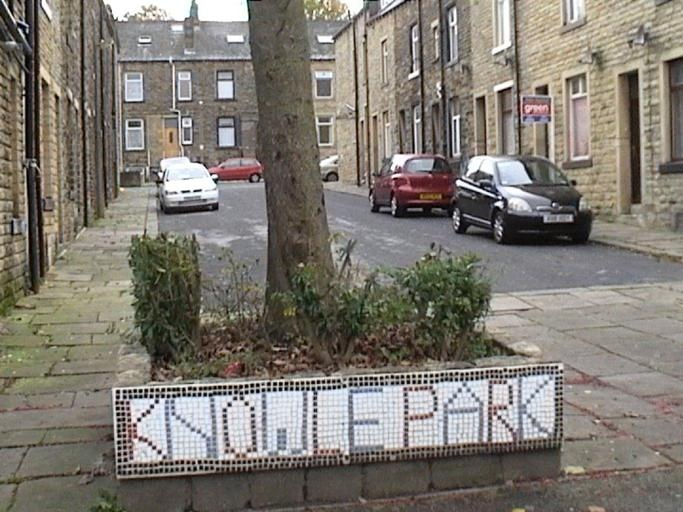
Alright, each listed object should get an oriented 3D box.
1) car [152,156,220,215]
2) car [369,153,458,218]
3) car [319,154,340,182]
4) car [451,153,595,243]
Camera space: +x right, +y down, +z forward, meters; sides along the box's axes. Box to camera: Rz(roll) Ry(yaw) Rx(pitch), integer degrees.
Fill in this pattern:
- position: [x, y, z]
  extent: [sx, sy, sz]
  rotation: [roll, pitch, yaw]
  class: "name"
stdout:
- position: [-5.613, -2.441, 25.503]
  extent: [1.936, 1.551, 2.712]
  rotation: [-7, 10, -19]
  class: "car"
- position: [2.151, -2.366, 22.551]
  extent: [1.299, 1.344, 2.766]
  rotation: [-2, 11, -8]
  class: "car"
- position: [-0.832, -5.719, 46.359]
  extent: [1.082, 1.537, 2.463]
  rotation: [-4, 9, -4]
  class: "car"
- position: [4.054, -1.375, 16.194]
  extent: [1.776, 1.835, 3.270]
  rotation: [-6, 10, -17]
  class: "car"
